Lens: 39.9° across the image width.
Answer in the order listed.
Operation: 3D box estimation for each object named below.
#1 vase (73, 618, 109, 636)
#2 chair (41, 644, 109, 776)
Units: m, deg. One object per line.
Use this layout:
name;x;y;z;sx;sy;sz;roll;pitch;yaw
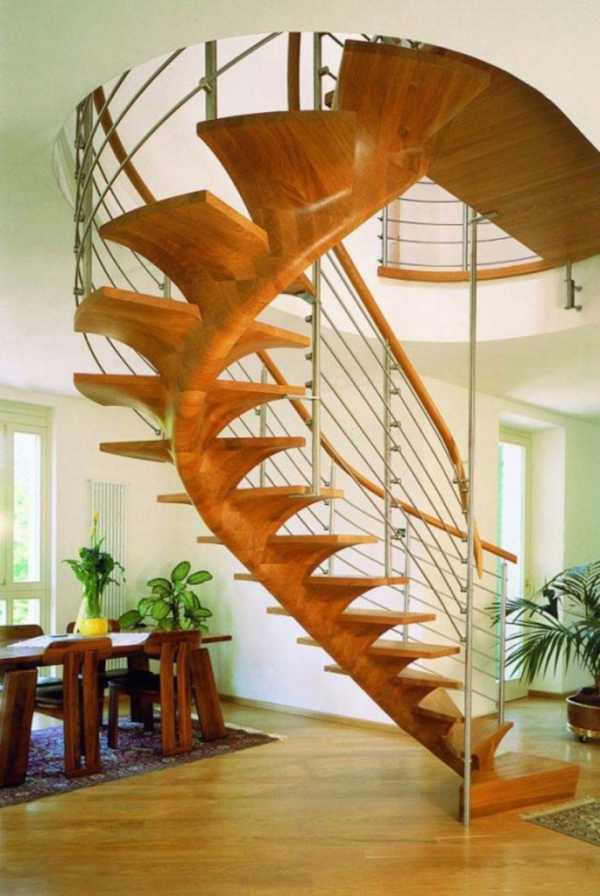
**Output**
vase;-1.238;1.075;4.967;0.146;0.090;0.153;1;-2;-21
chair;-1.172;1.365;4.329;0.213;0.697;0.397;-1;-8;12
